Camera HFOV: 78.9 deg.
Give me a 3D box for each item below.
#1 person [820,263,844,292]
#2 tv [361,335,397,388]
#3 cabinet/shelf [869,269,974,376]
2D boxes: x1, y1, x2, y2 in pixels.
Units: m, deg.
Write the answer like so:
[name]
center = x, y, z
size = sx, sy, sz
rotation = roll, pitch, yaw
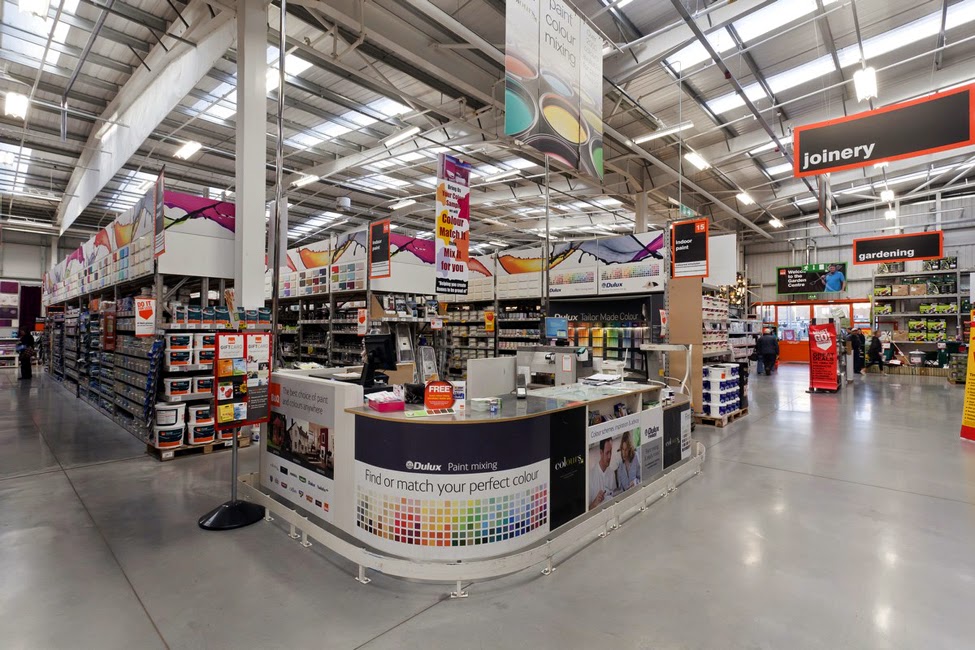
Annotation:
[person]
center = 13.035, -1.761, 22.212
size = 0.708, 0.974, 0.460
rotation = -2, 0, -13
[tv]
center = -1.545, 0.513, 8.364
size = 0.499, 0.780, 0.328
rotation = -2, 0, -20
[cabinet/shelf]
center = 14.650, -0.268, 20.083
size = 2.645, 3.855, 1.167
rotation = -2, 0, 42
